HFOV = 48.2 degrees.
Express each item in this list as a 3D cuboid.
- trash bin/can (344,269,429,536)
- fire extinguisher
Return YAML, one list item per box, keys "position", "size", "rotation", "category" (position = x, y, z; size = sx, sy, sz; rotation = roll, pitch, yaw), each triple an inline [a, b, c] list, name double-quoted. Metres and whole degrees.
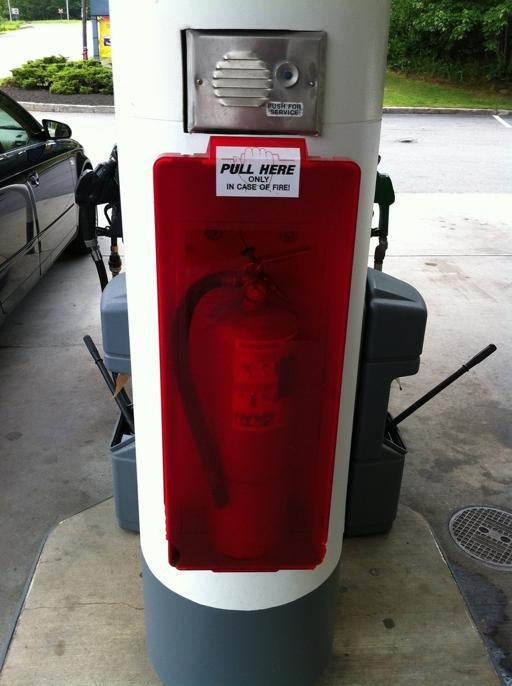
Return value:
- position: [0.461, 0.266, 2.139]
  size: [0.230, 1.053, 0.273]
  rotation: [3, 25, 3]
  category: "trash bin/can"
- position: [-0.040, 0.148, 1.125]
  size: [0.245, 0.671, 0.089]
  rotation: [2, 25, 1]
  category: "fire extinguisher"
